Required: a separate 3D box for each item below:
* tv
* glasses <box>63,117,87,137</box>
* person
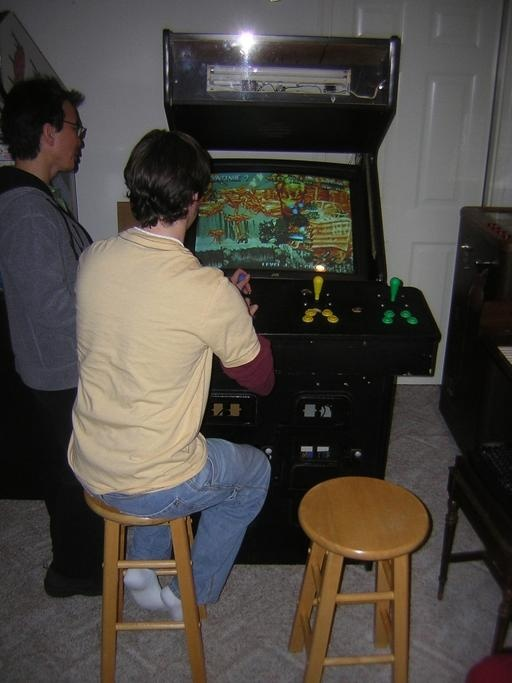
[{"bbox_3d":[0.077,-0.407,2.103,0.613,0.372,0.334,2,-9,-10],"label":"tv"},{"bbox_3d":[-0.512,-0.603,1.594,0.066,0.019,0.064,43,22,19],"label":"glasses"},{"bbox_3d":[-0.510,-0.143,1.986,0.658,1.387,2.048,-10,24,-23],"label":"person"}]
